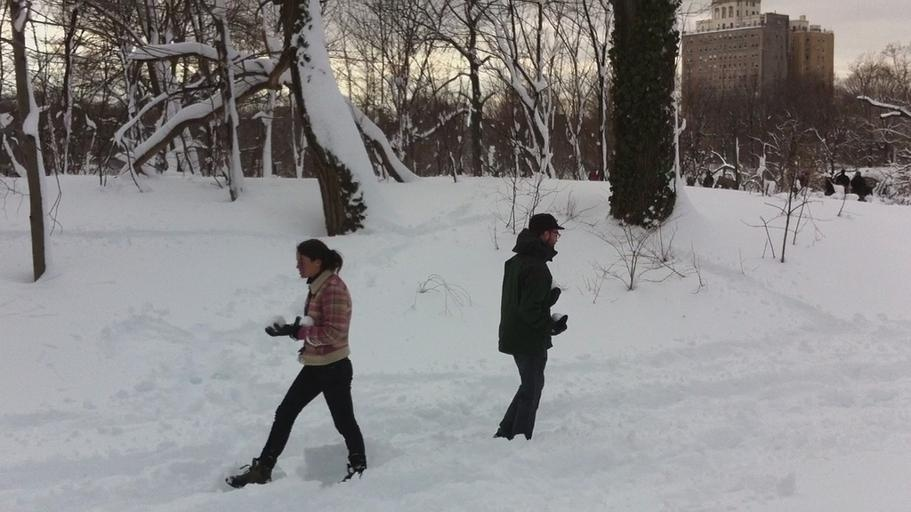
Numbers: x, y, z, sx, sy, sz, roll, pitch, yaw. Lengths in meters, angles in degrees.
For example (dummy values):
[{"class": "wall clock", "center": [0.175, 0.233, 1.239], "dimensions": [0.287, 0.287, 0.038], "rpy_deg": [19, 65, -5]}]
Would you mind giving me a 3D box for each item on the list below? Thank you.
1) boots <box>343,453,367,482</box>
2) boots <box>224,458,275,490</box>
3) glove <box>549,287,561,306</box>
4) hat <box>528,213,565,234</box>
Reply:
[{"class": "boots", "center": [-1.933, 4.029, 14.963], "dimensions": [0.528, 0.523, 0.370], "rpy_deg": [-17, -25, 33]}, {"class": "boots", "center": [-3.879, 4.142, 14.852], "dimensions": [1.130, 0.781, 0.416], "rpy_deg": [0, -14, 1]}, {"class": "glove", "center": [1.955, 0.731, 15.353], "dimensions": [0.177, 0.375, 0.632], "rpy_deg": [1, 10, 12]}, {"class": "hat", "center": [1.729, -0.663, 15.329], "dimensions": [0.528, 0.281, 0.408], "rpy_deg": [-5, 11, -14]}]
